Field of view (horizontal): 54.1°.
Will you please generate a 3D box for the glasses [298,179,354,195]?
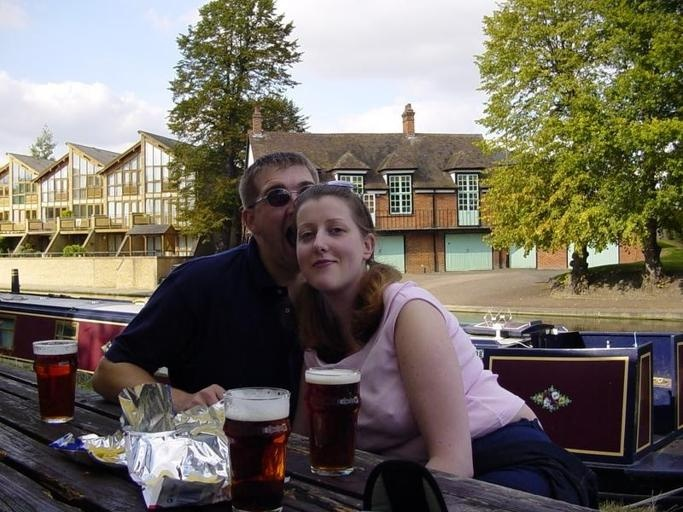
[{"bbox_3d":[-0.103,-0.388,3.753,0.130,0.037,0.132,-7,-23,-48],"label":"glasses"}]
